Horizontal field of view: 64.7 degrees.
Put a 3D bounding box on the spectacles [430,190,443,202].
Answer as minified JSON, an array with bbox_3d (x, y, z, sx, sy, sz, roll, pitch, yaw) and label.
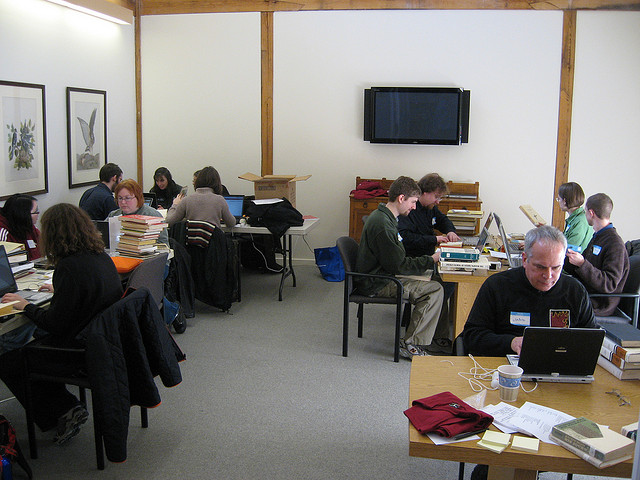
[{"bbox_3d":[1.150,-0.460,5.061,0.024,0.085,0.080,-23,-18,34],"label":"spectacles"}]

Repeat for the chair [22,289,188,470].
[{"bbox_3d":[-1.329,0.818,3.157,0.916,0.987,0.868,14,17,41],"label":"chair"}]

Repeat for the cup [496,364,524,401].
[{"bbox_3d":[0.861,0.662,2.380,0.134,0.143,0.135,-1,5,0],"label":"cup"}]

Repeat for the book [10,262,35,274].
[{"bbox_3d":[-2.168,0.186,3.691,0.091,0.045,0.177,9,16,29],"label":"book"}]

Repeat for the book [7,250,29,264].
[{"bbox_3d":[-2.227,0.121,3.779,0.097,0.092,0.259,-2,14,-11],"label":"book"}]

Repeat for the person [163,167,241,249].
[{"bbox_3d":[-1.328,-0.167,5.592,0.746,1.207,0.705,2,-3,26],"label":"person"}]

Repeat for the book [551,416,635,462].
[{"bbox_3d":[1.093,0.798,2.035,0.153,0.037,0.154,-4,8,-31],"label":"book"}]

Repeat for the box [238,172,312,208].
[{"bbox_3d":[-0.546,-0.664,6.125,0.507,0.371,0.537,2,6,32],"label":"box"}]

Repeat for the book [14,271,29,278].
[{"bbox_3d":[-2.127,0.242,3.633,0.032,0.014,0.125,4,14,12],"label":"book"}]

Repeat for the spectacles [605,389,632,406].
[{"bbox_3d":[1.399,0.735,2.367,0.075,0.014,0.119,1,14,0],"label":"spectacles"}]

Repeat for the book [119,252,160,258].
[{"bbox_3d":[-1.470,0.110,4.083,0.301,0.032,0.150,-2,14,-12],"label":"book"}]

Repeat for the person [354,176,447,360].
[{"bbox_3d":[0.706,0.242,4.525,0.795,1.513,0.669,2,13,8],"label":"person"}]

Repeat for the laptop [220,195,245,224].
[{"bbox_3d":[-1.029,-0.391,6.112,0.359,0.293,0.298,1,0,7],"label":"laptop"}]

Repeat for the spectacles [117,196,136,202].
[{"bbox_3d":[-1.705,-0.359,4.422,0.145,0.045,0.052,6,15,17],"label":"spectacles"}]

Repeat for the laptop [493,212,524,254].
[{"bbox_3d":[2.051,-0.099,5.535,0.349,0.320,0.462,-4,4,9],"label":"laptop"}]

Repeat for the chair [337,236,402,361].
[{"bbox_3d":[0.520,0.502,4.553,0.708,1.089,0.747,3,8,3],"label":"chair"}]

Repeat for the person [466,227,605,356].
[{"bbox_3d":[1.210,0.301,2.829,0.766,0.704,0.480,6,14,9],"label":"person"}]

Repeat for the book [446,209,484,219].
[{"bbox_3d":[1.723,-0.321,6.073,0.389,0.078,0.059,5,14,14],"label":"book"}]
